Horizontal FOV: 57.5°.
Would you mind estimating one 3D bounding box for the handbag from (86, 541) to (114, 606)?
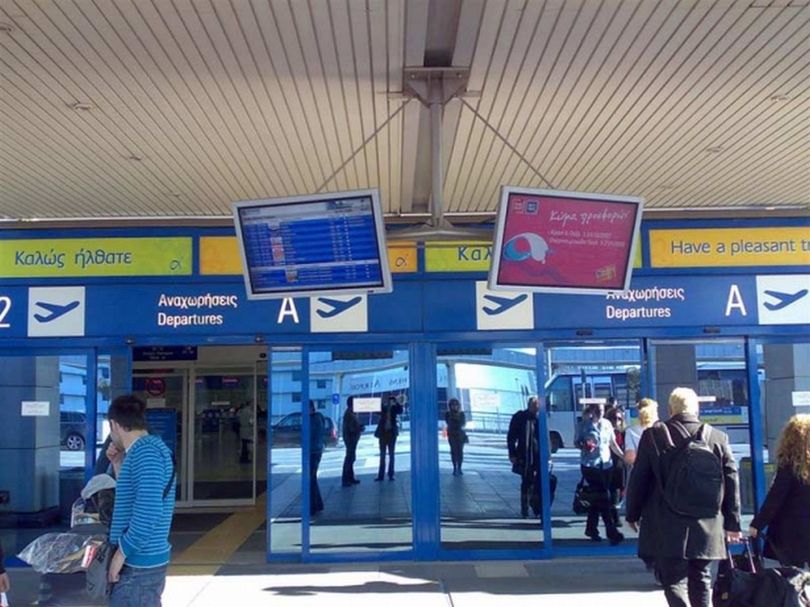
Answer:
[{"bbox_3d":[-2.000,1.782,4.837,0.141,0.403,0.158,1,-4,-34],"label":"handbag"}]

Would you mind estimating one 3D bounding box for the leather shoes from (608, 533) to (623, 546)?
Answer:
[{"bbox_3d":[2.431,2.736,8.517,0.152,0.129,0.116,10,-18,-4],"label":"leather shoes"}]

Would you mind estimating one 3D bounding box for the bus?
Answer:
[{"bbox_3d":[2.803,1.262,9.209,2.796,1.132,0.996,1,-4,6],"label":"bus"}]

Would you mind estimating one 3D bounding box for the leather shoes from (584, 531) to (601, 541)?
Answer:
[{"bbox_3d":[2.178,2.701,8.549,0.164,0.156,0.099,0,-3,9],"label":"leather shoes"}]

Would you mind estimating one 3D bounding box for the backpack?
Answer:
[{"bbox_3d":[2.200,1.299,5.725,0.485,0.718,0.226,-3,-4,22],"label":"backpack"}]

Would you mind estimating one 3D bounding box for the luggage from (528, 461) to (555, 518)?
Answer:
[{"bbox_3d":[1.607,2.175,8.595,0.345,0.611,0.092,0,-4,-21],"label":"luggage"}]

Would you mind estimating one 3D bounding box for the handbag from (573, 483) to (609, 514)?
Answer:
[{"bbox_3d":[2.124,2.282,8.548,0.212,0.278,0.295,2,-14,0],"label":"handbag"}]

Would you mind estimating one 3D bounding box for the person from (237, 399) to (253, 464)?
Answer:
[{"bbox_3d":[-2.684,2.158,12.426,0.226,0.999,0.330,0,-4,-13],"label":"person"}]

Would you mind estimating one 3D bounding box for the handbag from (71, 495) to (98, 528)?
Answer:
[{"bbox_3d":[-2.291,1.497,5.250,0.152,0.194,0.412,1,-4,-33],"label":"handbag"}]
